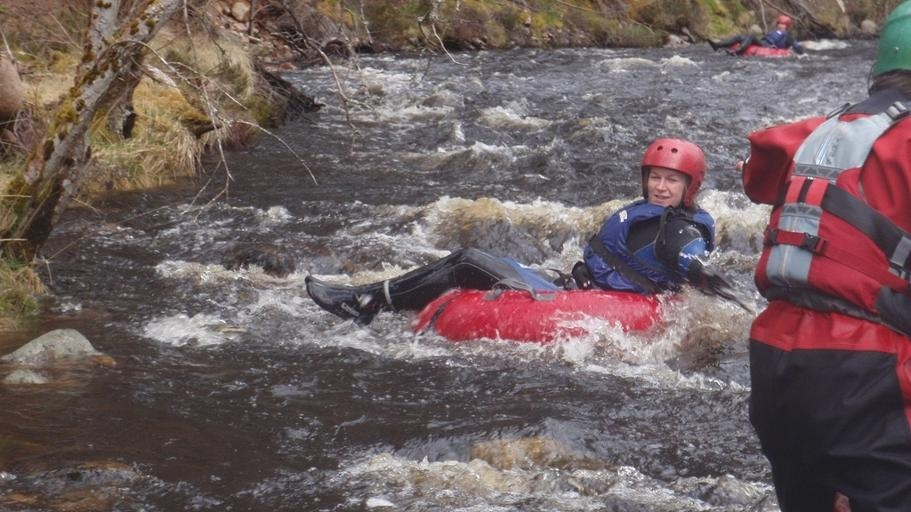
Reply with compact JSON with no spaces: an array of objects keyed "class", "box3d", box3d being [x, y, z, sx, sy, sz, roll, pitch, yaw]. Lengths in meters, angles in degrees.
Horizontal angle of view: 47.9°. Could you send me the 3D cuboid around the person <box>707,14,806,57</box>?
[{"class":"person","box3d":[8.444,-6.127,28.392,2.552,0.964,1.395,-7,39,-12]}]
